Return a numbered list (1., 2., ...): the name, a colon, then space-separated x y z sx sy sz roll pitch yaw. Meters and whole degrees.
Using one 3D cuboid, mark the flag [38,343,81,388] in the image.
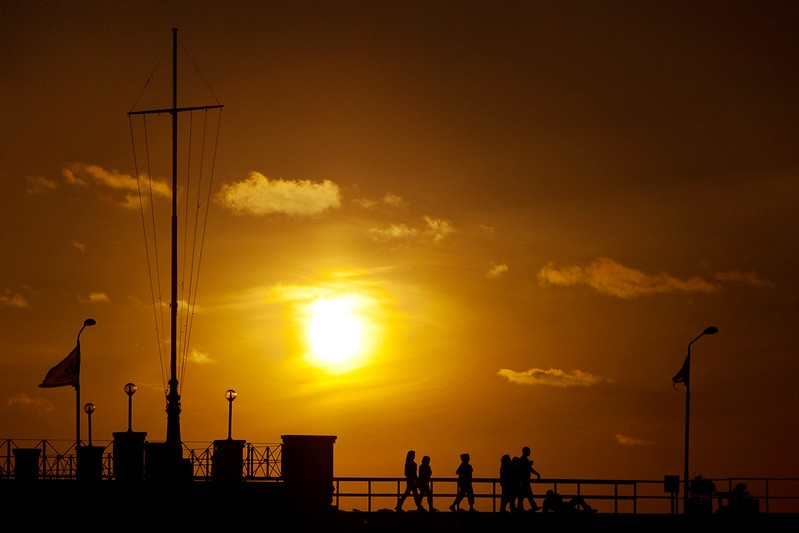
1. flag: -15.002 4.519 68.783 1.336 2.047 1.729 8 -20 -12
